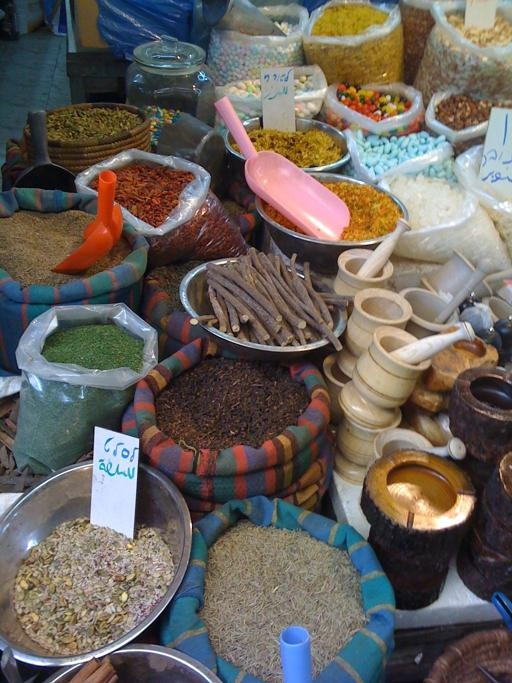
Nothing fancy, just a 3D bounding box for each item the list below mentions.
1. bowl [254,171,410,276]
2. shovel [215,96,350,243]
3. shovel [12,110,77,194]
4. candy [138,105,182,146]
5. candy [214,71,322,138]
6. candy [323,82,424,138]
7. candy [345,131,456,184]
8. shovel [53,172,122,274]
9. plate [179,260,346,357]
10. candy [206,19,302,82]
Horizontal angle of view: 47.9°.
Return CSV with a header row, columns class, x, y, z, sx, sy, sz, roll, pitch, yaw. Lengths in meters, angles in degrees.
class,x,y,z,sx,sy,sz,roll,pitch,yaw
bowl,0.234,-0.338,1.769,0.412,0.223,0.443,5,33,-3
shovel,0.063,-0.528,1.758,0.528,0.214,0.186,39,51,17
shovel,-0.678,-0.573,1.855,0.176,0.098,0.288,-11,82,-20
candy,-0.372,-0.825,2.257,0.144,0.134,0.276,1,34,-9
candy,0.084,-0.942,2.216,0.299,0.121,0.255,-19,35,-20
candy,0.426,-0.821,2.094,0.306,0.123,0.258,0,46,5
candy,0.483,-0.646,1.991,0.255,0.121,0.287,-16,37,-29
shovel,-0.405,-0.315,1.539,0.098,0.268,0.236,26,40,-3
plate,-0.044,-0.045,1.450,0.329,0.075,0.302,26,40,16
candy,-0.001,-1.179,2.361,0.316,0.209,0.320,32,48,25
